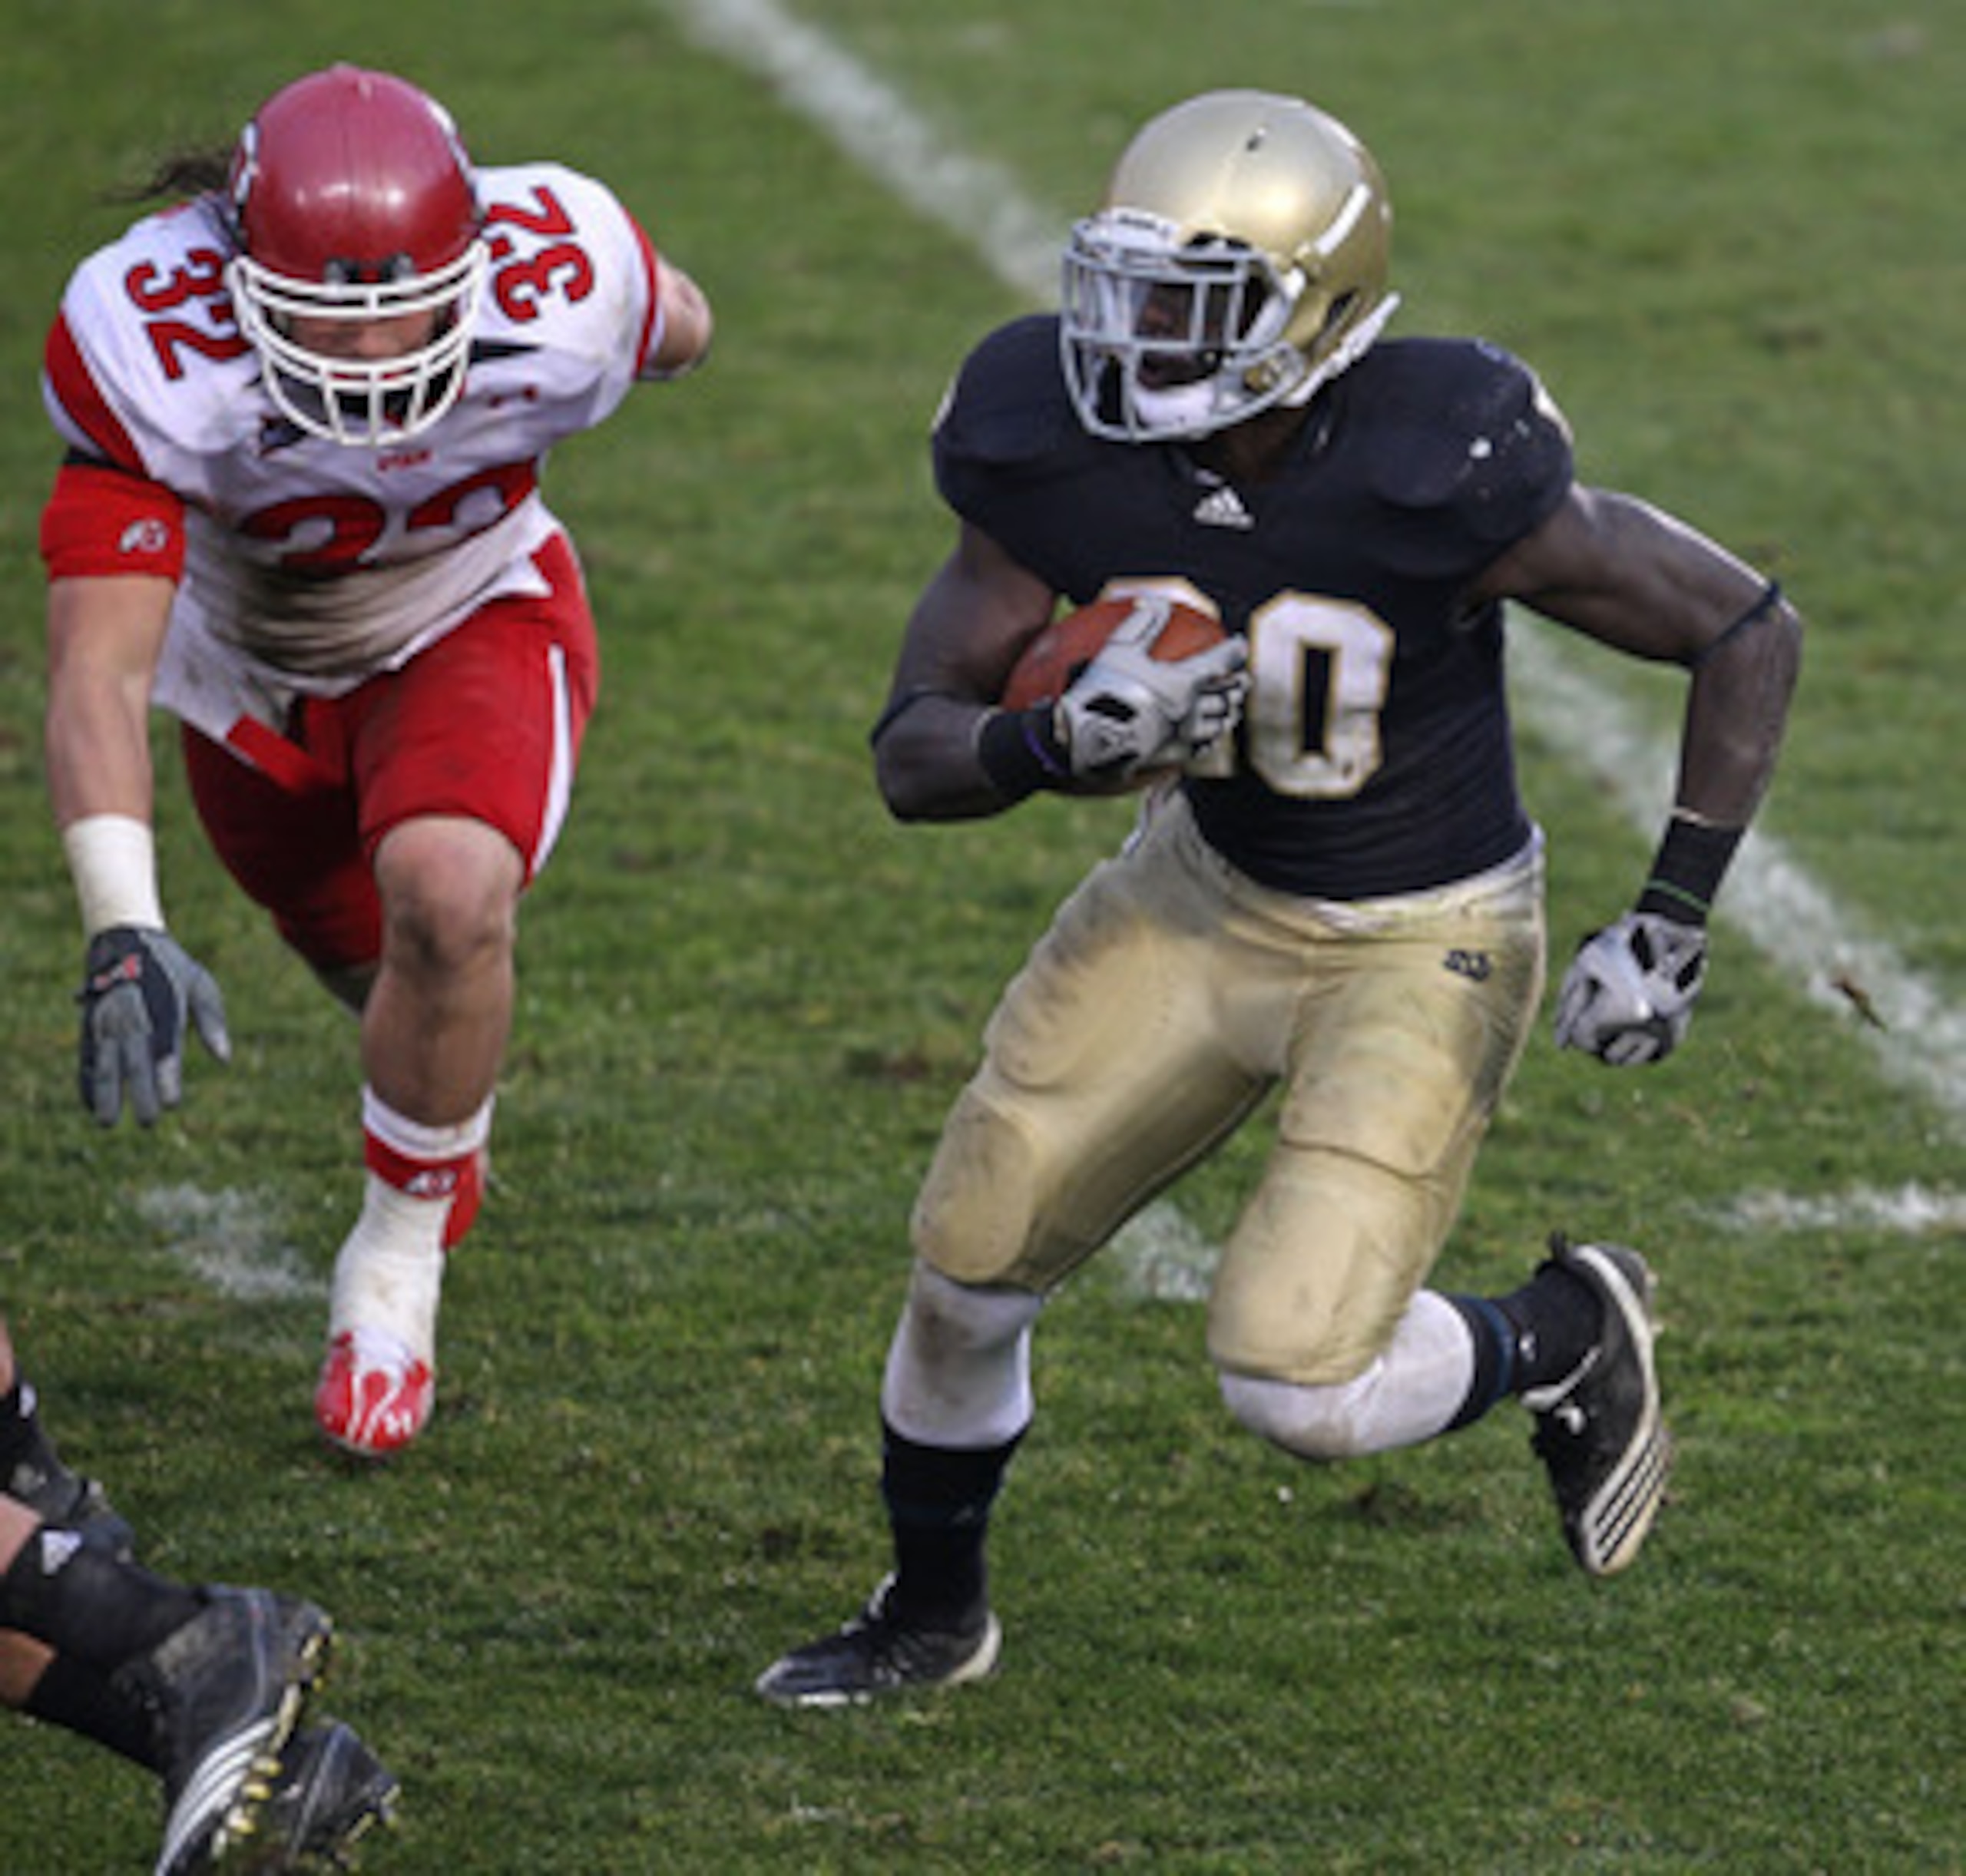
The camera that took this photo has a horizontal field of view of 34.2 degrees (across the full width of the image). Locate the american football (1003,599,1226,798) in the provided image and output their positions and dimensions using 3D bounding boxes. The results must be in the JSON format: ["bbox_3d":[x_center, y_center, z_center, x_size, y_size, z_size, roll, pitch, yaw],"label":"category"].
[{"bbox_3d":[0.152,-0.307,3.431,0.232,0.139,0.294,1,37,-6],"label":"american football"}]

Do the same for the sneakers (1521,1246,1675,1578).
[{"bbox_3d":[0.709,0.559,3.908,0.237,0.444,0.147,0,-6,-24],"label":"sneakers"}]

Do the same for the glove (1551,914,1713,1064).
[{"bbox_3d":[0.707,0.045,3.531,0.138,0.169,0.074,23,14,-5],"label":"glove"}]

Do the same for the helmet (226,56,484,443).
[{"bbox_3d":[-0.752,-0.862,3.826,0.293,0.348,0.401,-10,52,-19],"label":"helmet"}]

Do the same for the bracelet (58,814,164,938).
[{"bbox_3d":[-0.954,-0.072,3.509,0.100,0.089,0.144,2,57,-29],"label":"bracelet"}]

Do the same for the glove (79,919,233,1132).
[{"bbox_3d":[-0.876,0.082,3.410,0.179,0.060,0.226,-1,64,-3],"label":"glove"}]

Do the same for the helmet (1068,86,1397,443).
[{"bbox_3d":[0.276,-0.774,3.526,0.409,0.313,0.291,-23,33,-27],"label":"helmet"}]

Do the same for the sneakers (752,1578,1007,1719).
[{"bbox_3d":[-0.126,0.805,3.707,0.298,0.134,0.109,-6,17,-6],"label":"sneakers"}]

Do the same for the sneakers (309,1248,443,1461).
[{"bbox_3d":[-0.770,0.511,4.124,0.146,0.135,0.399,21,25,-15],"label":"sneakers"}]

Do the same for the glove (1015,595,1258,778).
[{"bbox_3d":[0.186,-0.272,3.357,0.221,0.106,0.159,-35,36,-18],"label":"glove"}]

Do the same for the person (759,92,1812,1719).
[{"bbox_3d":[0.345,0.044,3.634,1.130,1.744,0.842,17,31,1],"label":"person"}]
